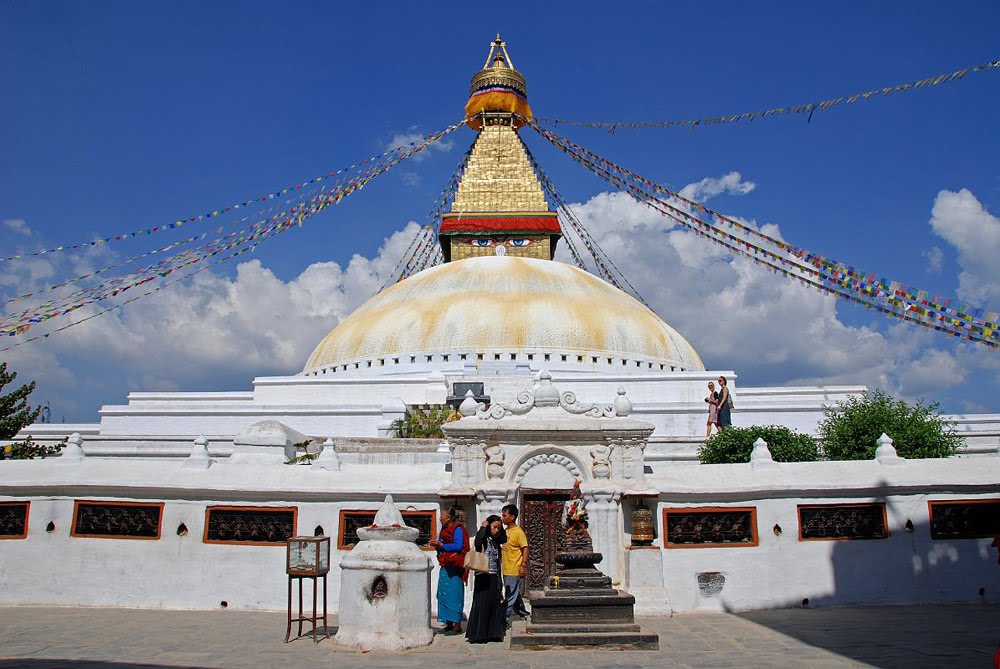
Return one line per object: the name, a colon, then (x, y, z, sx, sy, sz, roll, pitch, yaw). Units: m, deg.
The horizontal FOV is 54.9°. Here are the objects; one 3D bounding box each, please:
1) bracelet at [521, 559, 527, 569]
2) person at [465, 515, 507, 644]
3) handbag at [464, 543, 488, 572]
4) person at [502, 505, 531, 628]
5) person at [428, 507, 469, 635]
bracelet: (0.405, 3.897, 16.293, 0.060, 0.176, 0.132, 1, -7, -10)
person: (-0.242, 4.045, 15.956, 0.622, 1.895, 0.880, 0, 9, 1)
handbag: (-0.384, 3.708, 15.685, 0.424, 0.411, 0.260, 3, -12, -8)
person: (0.232, 3.986, 16.397, 0.443, 2.042, 0.706, 0, 9, 1)
person: (-0.826, 4.049, 16.177, 0.542, 2.108, 0.829, -1, 9, -4)
